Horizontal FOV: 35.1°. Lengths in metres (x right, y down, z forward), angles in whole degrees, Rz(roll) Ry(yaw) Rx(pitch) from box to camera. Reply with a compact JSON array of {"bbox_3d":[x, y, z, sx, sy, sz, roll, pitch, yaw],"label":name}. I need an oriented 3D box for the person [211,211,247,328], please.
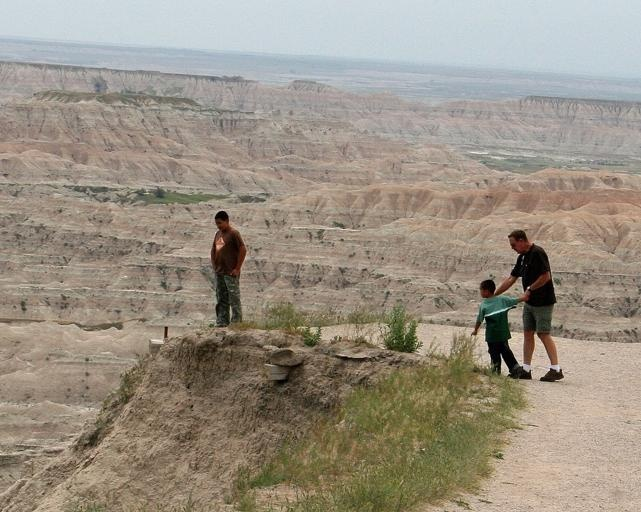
[{"bbox_3d":[-2.013,0.301,21.806,0.720,2.525,1.085,1,9,-5],"label":"person"}]
